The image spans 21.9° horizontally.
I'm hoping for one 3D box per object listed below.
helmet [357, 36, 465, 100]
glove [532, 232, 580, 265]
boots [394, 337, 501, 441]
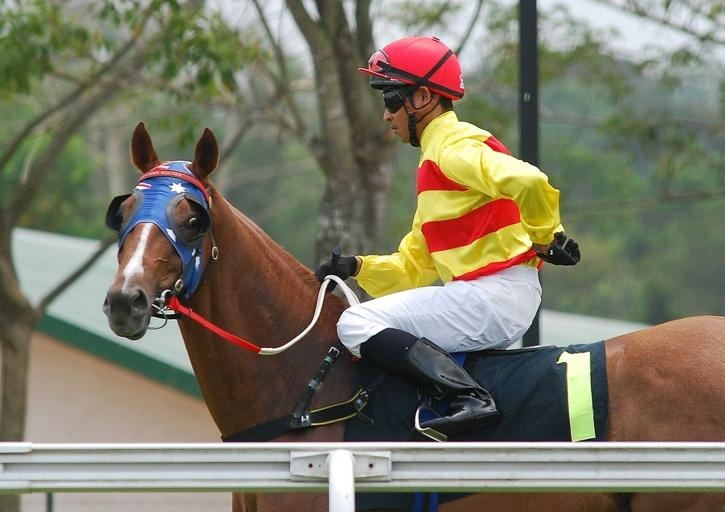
[{"bbox_3d":[0.402,-1.384,13.817,0.619,0.314,0.449,8,-2,0],"label":"helmet"},{"bbox_3d":[1.427,-0.030,13.487,0.230,0.137,0.286,-31,-13,4],"label":"glove"},{"bbox_3d":[0.558,0.876,13.413,0.669,0.746,0.405,-16,19,-22],"label":"boots"}]
